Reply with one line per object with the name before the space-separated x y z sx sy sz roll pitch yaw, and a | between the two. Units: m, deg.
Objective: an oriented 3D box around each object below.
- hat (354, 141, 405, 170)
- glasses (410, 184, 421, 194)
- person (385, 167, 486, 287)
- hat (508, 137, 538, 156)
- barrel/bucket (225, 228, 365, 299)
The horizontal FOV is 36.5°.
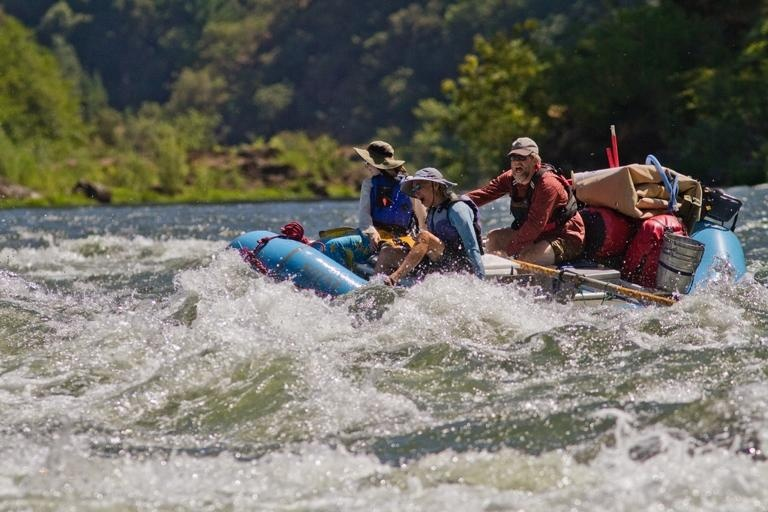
hat | -0.067 -1.976 22.322 0.865 0.497 0.536 -2 21 -3
glasses | 0.592 -1.273 21.688 0.186 0.176 0.057 41 29 -1
person | 1.069 -0.576 21.493 1.553 2.022 0.935 0 22 3
hat | 2.647 -2.081 21.948 0.489 0.254 0.338 13 -1 -10
barrel/bucket | -1.697 0.095 22.046 2.076 0.555 1.201 20 25 22
